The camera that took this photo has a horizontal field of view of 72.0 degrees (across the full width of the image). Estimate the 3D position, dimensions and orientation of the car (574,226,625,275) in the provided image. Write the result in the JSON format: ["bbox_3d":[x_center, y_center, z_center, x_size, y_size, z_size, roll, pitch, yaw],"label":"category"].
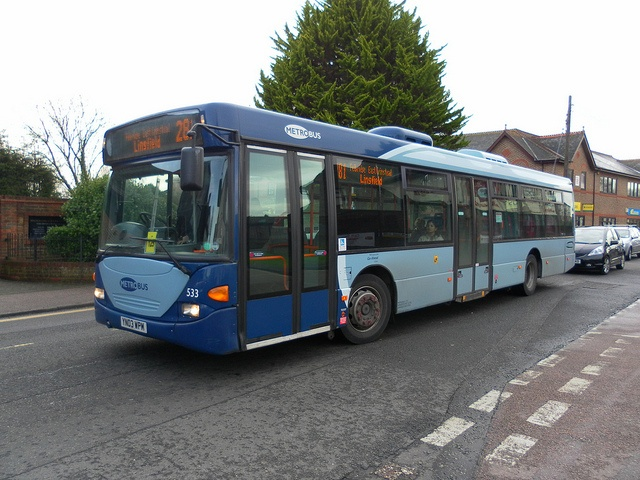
[{"bbox_3d":[11.583,0.414,18.435,2.706,1.366,1.620,6,-9,-43],"label":"car"}]

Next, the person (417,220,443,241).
[{"bbox_3d":[2.152,-0.129,8.539,0.685,0.513,0.310,-3,-1,-39],"label":"person"}]
